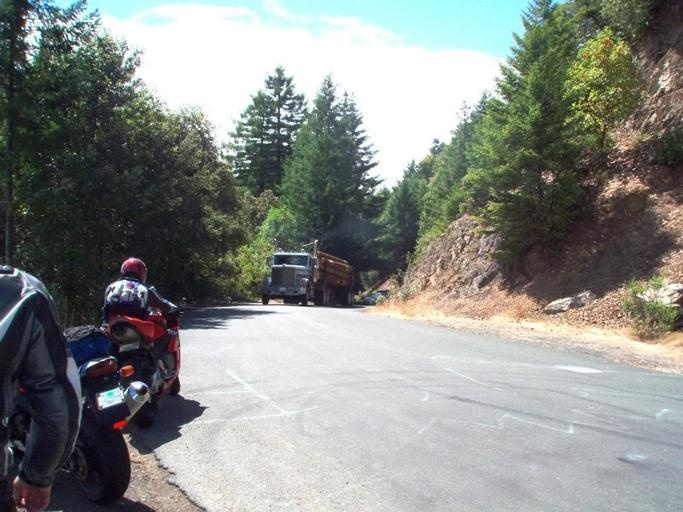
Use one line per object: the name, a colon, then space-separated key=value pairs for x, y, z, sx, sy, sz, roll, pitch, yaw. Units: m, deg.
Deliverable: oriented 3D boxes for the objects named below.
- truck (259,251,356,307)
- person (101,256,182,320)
truck: x=-2.231 y=1.795 z=39.776 sx=2.638 sy=3.457 sz=9.716 roll=0 pitch=-7 yaw=13
person: x=-2.738 y=0.421 z=7.565 sx=0.529 sy=0.754 sz=1.203 roll=5 pitch=6 yaw=-1
